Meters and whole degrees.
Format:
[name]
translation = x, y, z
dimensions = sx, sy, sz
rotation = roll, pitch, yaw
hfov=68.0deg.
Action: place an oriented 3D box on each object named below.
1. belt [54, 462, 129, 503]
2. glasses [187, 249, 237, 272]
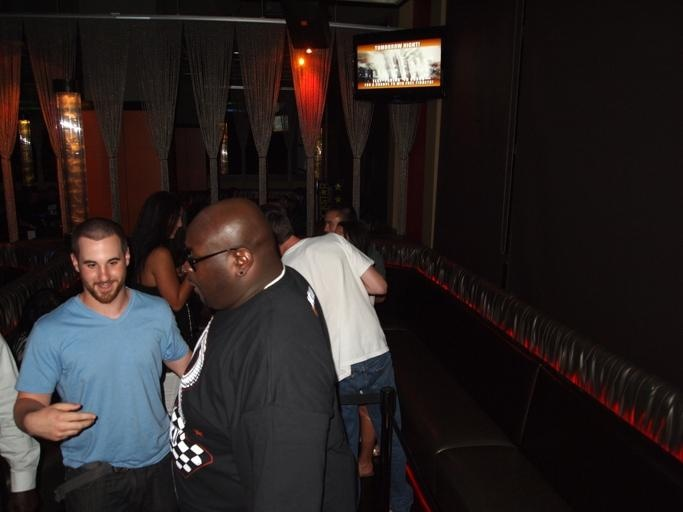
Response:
[belt]
translation = -1.097, 0.960, 2.148
dimensions = 0.197, 0.051, 0.150
rotation = -29, 5, -6
[glasses]
translation = -0.462, 0.000, 1.734
dimensions = 0.101, 0.031, 0.102
rotation = -23, 10, -5
